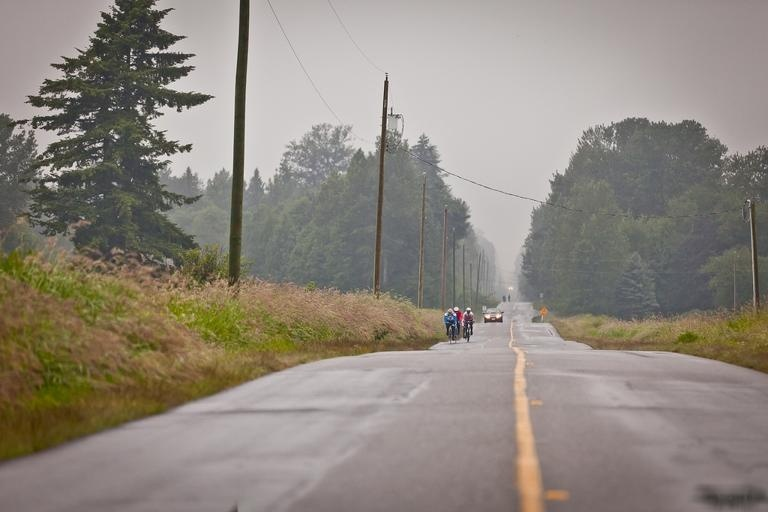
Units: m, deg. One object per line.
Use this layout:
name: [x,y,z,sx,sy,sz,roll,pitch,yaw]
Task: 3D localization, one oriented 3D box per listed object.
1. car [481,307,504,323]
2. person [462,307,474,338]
car: [11.960,6.445,83.133,1.487,1.253,3.537,-2,-11,6]
person: [4.461,3.578,40.053,0.673,0.988,1.484,-1,-6,1]
